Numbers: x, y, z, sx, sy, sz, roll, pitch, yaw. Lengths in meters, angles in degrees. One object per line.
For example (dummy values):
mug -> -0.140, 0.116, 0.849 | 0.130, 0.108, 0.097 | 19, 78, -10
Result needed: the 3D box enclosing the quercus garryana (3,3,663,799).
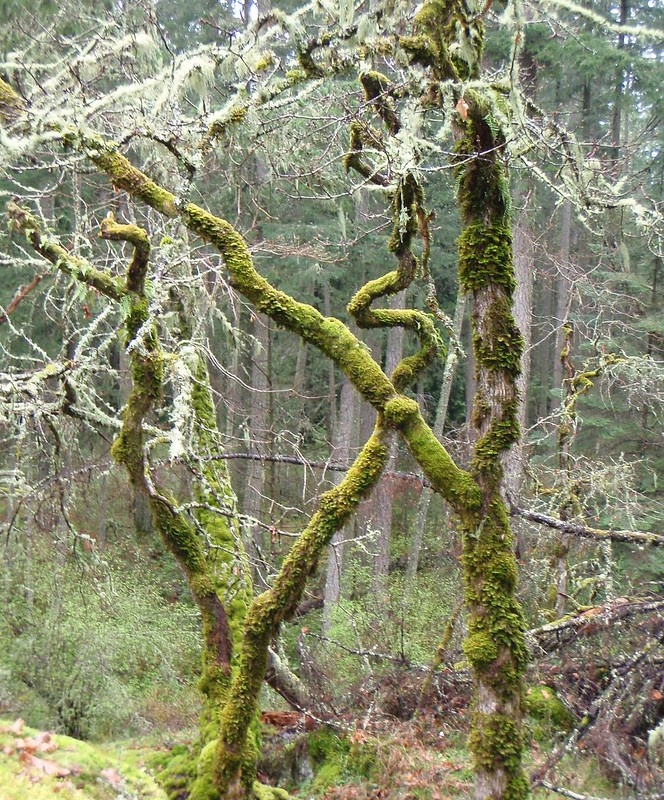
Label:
quercus garryana -> 1.275, 0.352, 13.730 | 6.343, 8.767, 6.346 | -3, -10, 13
